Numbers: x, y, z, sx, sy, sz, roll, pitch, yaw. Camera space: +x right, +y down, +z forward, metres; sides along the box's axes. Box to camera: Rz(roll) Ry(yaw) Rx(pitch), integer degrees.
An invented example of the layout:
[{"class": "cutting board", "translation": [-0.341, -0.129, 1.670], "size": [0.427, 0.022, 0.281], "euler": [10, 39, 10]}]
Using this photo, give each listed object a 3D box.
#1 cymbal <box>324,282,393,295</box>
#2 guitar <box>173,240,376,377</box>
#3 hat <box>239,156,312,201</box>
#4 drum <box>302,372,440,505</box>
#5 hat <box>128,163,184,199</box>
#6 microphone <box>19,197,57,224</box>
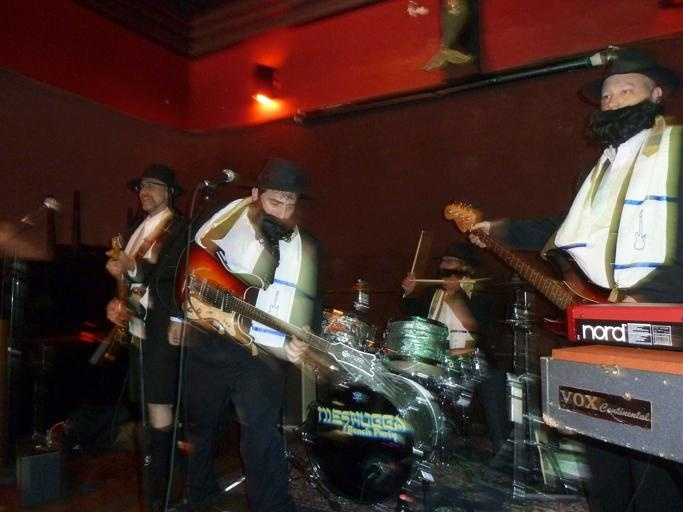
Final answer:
[{"class": "cymbal", "translation": [0.206, 0.315, 5.556], "size": [0.310, 0.069, 0.318], "euler": [-3, -10, 35]}, {"class": "guitar", "translation": [-0.432, 0.366, 3.486], "size": [1.435, 0.532, 0.155], "euler": [20, 17, 23]}, {"class": "hat", "translation": [-0.361, -0.475, 3.742], "size": [0.249, 0.150, 0.282], "euler": [18, -4, 41]}, {"class": "drum", "translation": [0.201, 1.164, 3.626], "size": [0.866, 0.901, 0.571], "euler": [4, 3, 30]}, {"class": "hat", "translation": [-1.312, -0.580, 4.218], "size": [0.341, 0.173, 0.425], "euler": [1, -18, 32]}, {"class": "microphone", "translation": [-2.398, -0.365, 4.561], "size": [0.282, 0.262, 0.112], "euler": [6, -9, -39]}]
